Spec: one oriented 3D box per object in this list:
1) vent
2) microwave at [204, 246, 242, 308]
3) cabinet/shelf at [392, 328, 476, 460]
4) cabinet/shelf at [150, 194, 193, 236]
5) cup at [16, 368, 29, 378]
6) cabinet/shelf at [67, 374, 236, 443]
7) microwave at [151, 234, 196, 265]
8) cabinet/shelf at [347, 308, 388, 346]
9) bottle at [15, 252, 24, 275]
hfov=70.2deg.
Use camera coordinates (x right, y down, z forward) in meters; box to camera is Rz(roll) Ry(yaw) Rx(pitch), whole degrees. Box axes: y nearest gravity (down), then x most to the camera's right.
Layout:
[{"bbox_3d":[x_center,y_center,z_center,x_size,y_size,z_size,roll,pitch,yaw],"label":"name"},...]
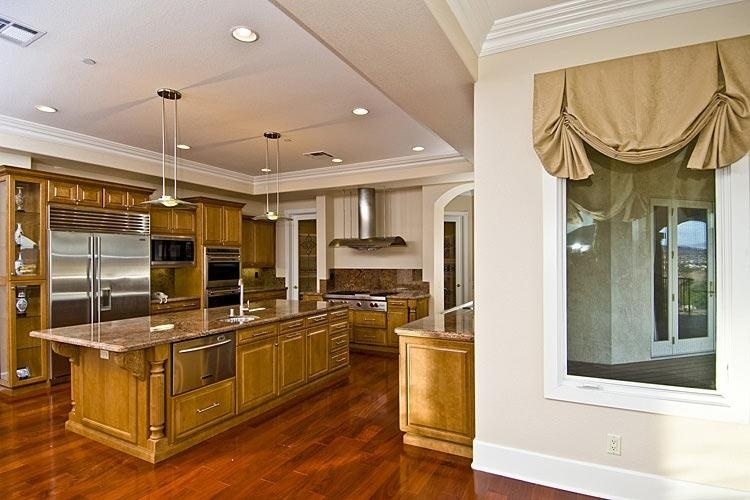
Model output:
[{"bbox_3d":[-0.104,-0.501,8.872,1.323,1.026,0.499,-1,-3,34],"label":"vent"},{"bbox_3d":[-2.441,0.411,8.579,0.258,1.014,0.876,4,14,21],"label":"microwave"},{"bbox_3d":[0.583,1.365,5.089,0.724,1.035,0.386,3,14,14],"label":"cabinet/shelf"},{"bbox_3d":[-2.881,-0.481,7.516,0.387,0.401,0.689,-2,-3,29],"label":"cabinet/shelf"},{"bbox_3d":[-4.166,1.458,6.344,0.125,0.105,0.088,-10,-6,17],"label":"cup"},{"bbox_3d":[-2.185,1.478,5.127,1.566,0.716,0.596,-2,13,-5],"label":"cabinet/shelf"},{"bbox_3d":[-3.000,-0.021,7.994,0.152,0.501,0.798,6,14,25],"label":"microwave"},{"bbox_3d":[-0.021,1.103,8.496,0.782,0.639,0.513,0,-2,29],"label":"cabinet/shelf"},{"bbox_3d":[-4.212,0.161,6.343,0.062,0.238,0.138,-4,14,-12],"label":"bottle"}]
